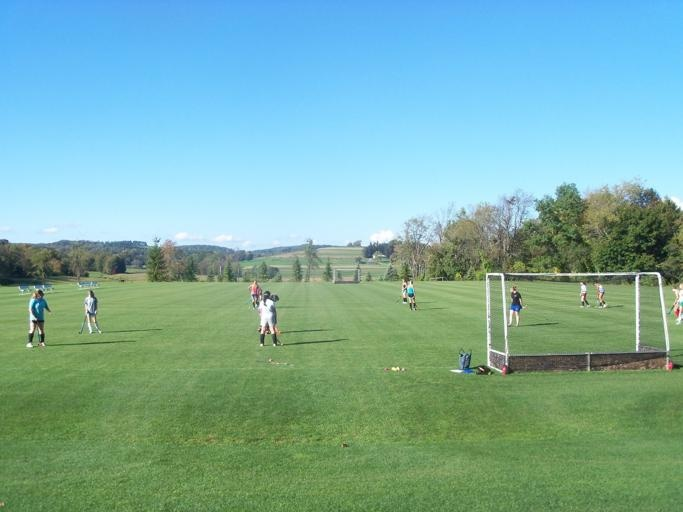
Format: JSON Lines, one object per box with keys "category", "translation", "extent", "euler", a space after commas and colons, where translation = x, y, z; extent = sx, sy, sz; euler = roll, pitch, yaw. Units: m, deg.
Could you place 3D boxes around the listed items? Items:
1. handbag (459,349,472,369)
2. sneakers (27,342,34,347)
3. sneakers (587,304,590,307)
{"category": "handbag", "translation": [4.492, 3.788, 20.624], "extent": [0.403, 0.680, 0.846], "euler": [-1, -2, 10]}
{"category": "sneakers", "translation": [-13.479, 3.862, 24.329], "extent": [0.166, 0.196, 0.441], "euler": [2, -7, -39]}
{"category": "sneakers", "translation": [17.142, 3.487, 39.231], "extent": [0.120, 0.156, 0.369], "euler": [-13, -18, 10]}
